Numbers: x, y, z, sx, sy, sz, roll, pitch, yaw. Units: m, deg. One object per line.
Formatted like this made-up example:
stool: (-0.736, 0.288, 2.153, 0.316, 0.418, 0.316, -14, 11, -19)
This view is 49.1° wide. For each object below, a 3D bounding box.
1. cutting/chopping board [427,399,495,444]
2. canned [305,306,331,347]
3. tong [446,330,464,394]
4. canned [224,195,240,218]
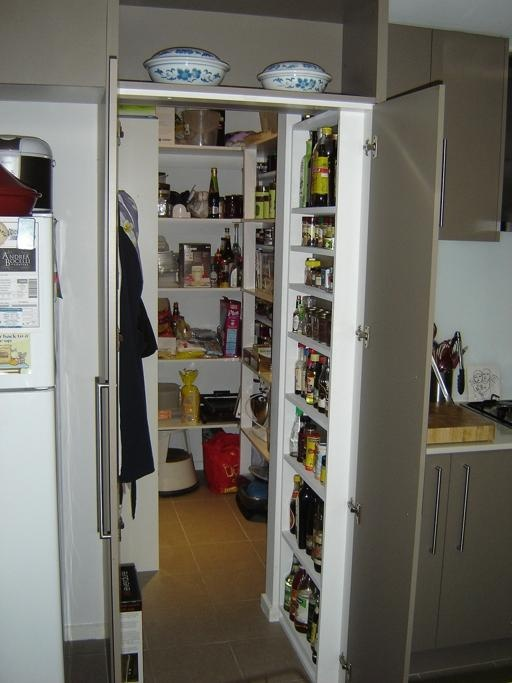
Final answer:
cutting/chopping board: (0.754, 0.316, 2.094, 0.192, 0.060, 0.235, -1, 8, -11)
canned: (0.210, -0.046, 1.898, 0.041, 0.066, 0.115, -3, 14, -14)
tong: (1.006, 0.109, 2.783, 0.045, 0.334, 0.066, -7, 7, -5)
canned: (-0.142, -0.834, 3.498, 0.106, 0.145, 0.119, 2, 6, 11)
